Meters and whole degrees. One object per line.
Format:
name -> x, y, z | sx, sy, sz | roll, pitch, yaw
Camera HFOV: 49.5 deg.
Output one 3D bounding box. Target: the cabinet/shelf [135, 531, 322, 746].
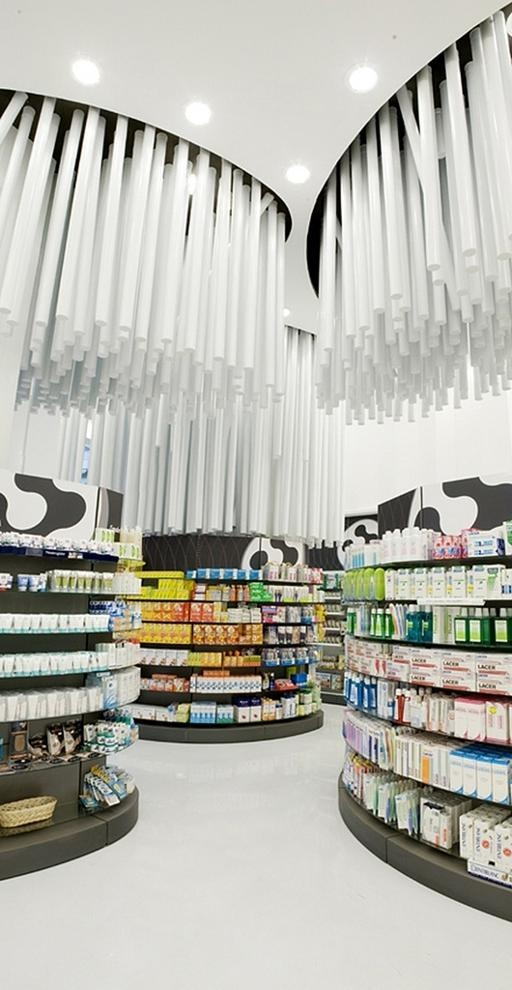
cabinet/shelf -> -0.328, 2.006, 8.038 | 2.155, 2.804, 2.424 | 0, -6, 2
